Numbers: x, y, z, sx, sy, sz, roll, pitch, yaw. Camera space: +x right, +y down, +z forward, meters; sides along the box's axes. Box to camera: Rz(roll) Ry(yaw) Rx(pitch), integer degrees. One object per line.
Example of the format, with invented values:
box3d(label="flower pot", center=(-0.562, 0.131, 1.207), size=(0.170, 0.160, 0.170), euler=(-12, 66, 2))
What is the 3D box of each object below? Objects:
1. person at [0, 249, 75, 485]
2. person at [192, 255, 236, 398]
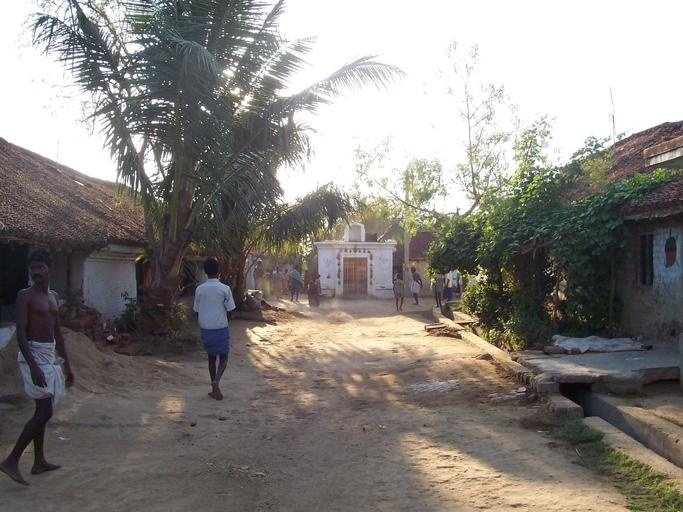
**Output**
box3d(label="person", center=(-3.216, 1.091, 5.616), size=(0.659, 2.305, 0.706), euler=(-4, 8, -30))
box3d(label="person", center=(-2.075, 1.115, 8.693), size=(0.618, 2.216, 1.538), euler=(-2, 7, -15))
